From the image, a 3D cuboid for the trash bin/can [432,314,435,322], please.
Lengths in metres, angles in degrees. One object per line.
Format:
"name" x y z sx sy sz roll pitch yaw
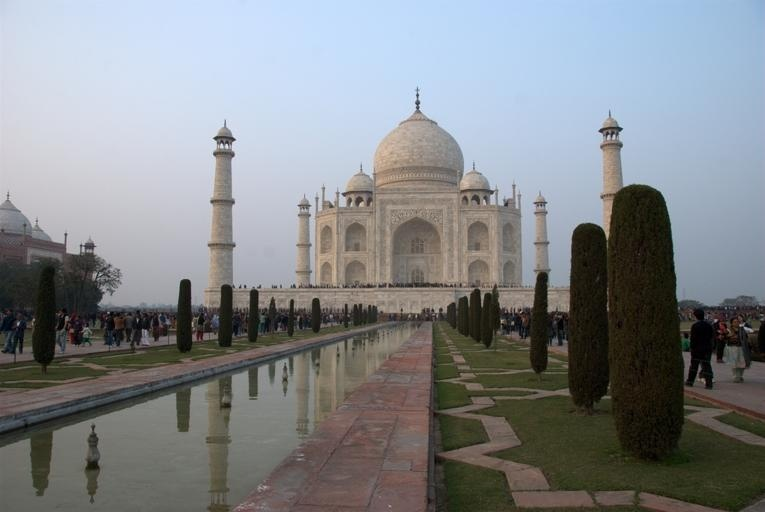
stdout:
"trash bin/can" 2.631 3.257 41.031 0.276 0.474 0.266 -1 3 4
